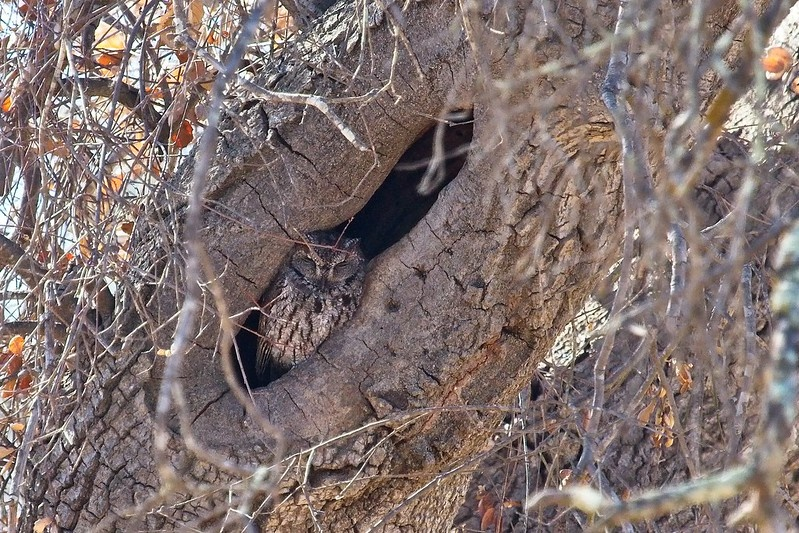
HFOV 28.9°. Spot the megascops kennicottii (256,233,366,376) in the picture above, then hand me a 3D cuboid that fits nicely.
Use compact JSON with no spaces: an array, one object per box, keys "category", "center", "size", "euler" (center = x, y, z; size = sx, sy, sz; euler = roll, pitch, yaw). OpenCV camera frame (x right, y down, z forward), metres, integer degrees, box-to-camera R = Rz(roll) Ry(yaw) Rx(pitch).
[{"category":"megascops kennicottii","center":[-0.433,0.189,7.455],"size":[0.513,0.677,1.114],"euler":[1,3,-5]}]
